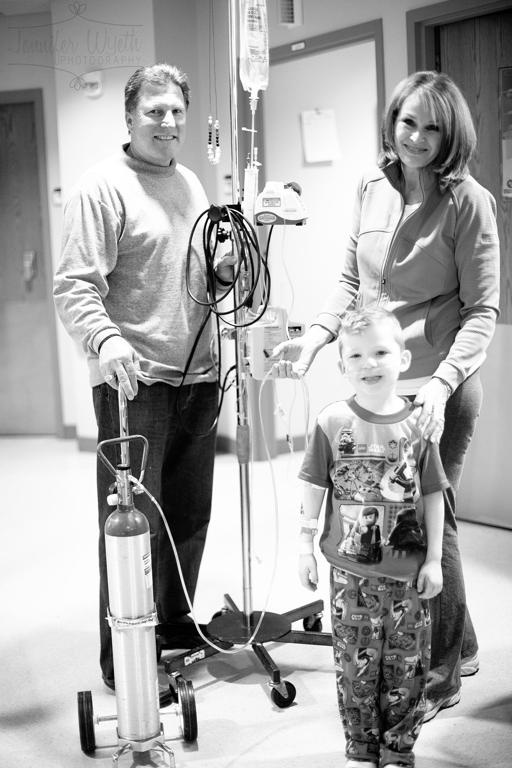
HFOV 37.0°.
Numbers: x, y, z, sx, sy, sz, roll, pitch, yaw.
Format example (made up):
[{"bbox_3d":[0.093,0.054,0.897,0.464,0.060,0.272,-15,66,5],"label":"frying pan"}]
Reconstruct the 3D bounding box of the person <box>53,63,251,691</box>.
[{"bbox_3d":[-0.265,0.014,1.876,0.382,1.575,0.641,1,7,20],"label":"person"}]
